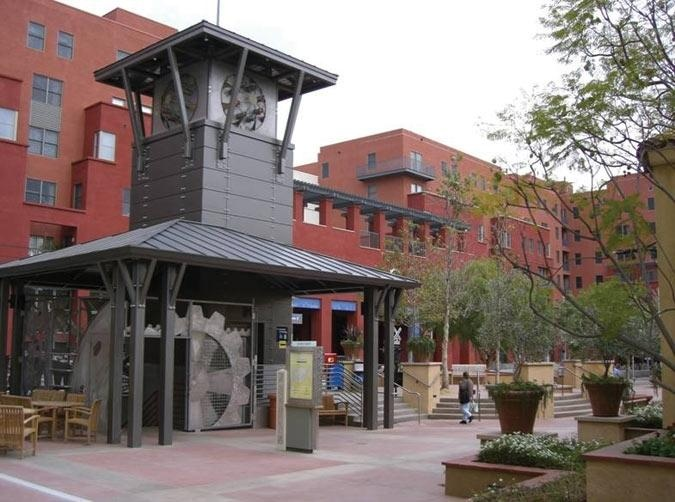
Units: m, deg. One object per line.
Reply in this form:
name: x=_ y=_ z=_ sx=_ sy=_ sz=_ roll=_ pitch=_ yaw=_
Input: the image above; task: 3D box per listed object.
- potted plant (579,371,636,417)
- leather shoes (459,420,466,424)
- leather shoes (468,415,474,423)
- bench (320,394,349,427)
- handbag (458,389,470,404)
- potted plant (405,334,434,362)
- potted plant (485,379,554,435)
potted plant: x=6.769 y=3.694 z=19.229 sx=1.167 sy=0.878 sz=1.074 roll=6 pitch=-15 yaw=-13
leather shoes: x=4.664 y=6.422 z=27.950 sx=0.268 sy=0.133 sz=0.549 roll=-3 pitch=-15 yaw=10
leather shoes: x=5.009 y=6.409 z=28.298 sx=0.136 sy=0.193 sz=0.455 roll=-8 pitch=-56 yaw=15
bench: x=-0.118 y=5.461 z=25.553 sx=0.979 sy=1.110 sz=2.140 roll=0 pitch=-14 yaw=0
handbag: x=4.695 y=5.531 z=28.093 sx=0.432 sy=0.813 sz=0.620 roll=-1 pitch=-2 yaw=13
potted plant: x=3.933 y=4.645 z=35.121 sx=1.246 sy=1.288 sz=1.258 roll=-7 pitch=-12 yaw=30
potted plant: x=4.029 y=3.625 z=17.365 sx=1.229 sy=0.868 sz=1.189 roll=1 pitch=-16 yaw=0
